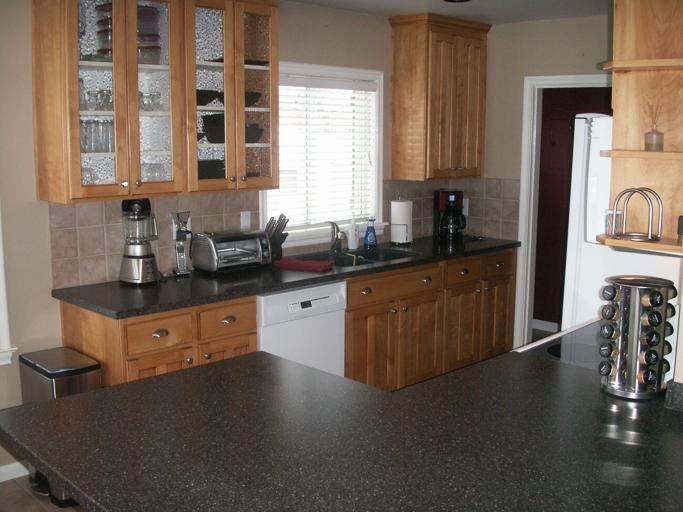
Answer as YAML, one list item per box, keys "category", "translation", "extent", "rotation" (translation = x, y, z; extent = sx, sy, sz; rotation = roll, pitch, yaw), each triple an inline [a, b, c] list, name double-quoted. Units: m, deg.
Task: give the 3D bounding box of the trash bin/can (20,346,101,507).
- category: "trash bin/can"
  translation: [-1.571, 0.703, 3.190]
  extent: [0.585, 0.323, 0.280]
  rotation: [11, 16, 43]

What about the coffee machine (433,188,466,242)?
- category: "coffee machine"
  translation: [0.971, -0.376, 5.122]
  extent: [0.279, 0.432, 0.278]
  rotation: [1, 12, 8]

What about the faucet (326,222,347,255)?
- category: "faucet"
  translation: [-0.031, -0.147, 4.489]
  extent: [0.148, 0.266, 0.169]
  rotation: [0, 12, 2]

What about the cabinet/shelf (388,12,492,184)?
- category: "cabinet/shelf"
  translation: [0.854, -1.331, 4.825]
  extent: [0.850, 1.316, 0.384]
  rotation: [-6, 13, -23]

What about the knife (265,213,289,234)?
- category: "knife"
  translation: [-0.458, -0.220, 4.091]
  extent: [0.109, 0.180, 0.048]
  rotation: [39, -6, 9]

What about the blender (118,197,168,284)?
- category: "blender"
  translation: [-1.255, -0.105, 3.546]
  extent: [0.278, 0.535, 0.285]
  rotation: [6, 9, 44]

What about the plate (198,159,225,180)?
- category: "plate"
  translation: [-0.808, -0.542, 3.548]
  extent: [0.107, 0.136, 0.198]
  rotation: [11, 14, 39]

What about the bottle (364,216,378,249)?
- category: "bottle"
  translation: [0.236, -0.195, 4.642]
  extent: [0.106, 0.241, 0.167]
  rotation: [-1, 12, -2]

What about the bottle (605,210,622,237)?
- category: "bottle"
  translation: [1.080, -0.134, 2.252]
  extent: [0.062, 0.097, 0.058]
  rotation: [-1, 12, 0]
